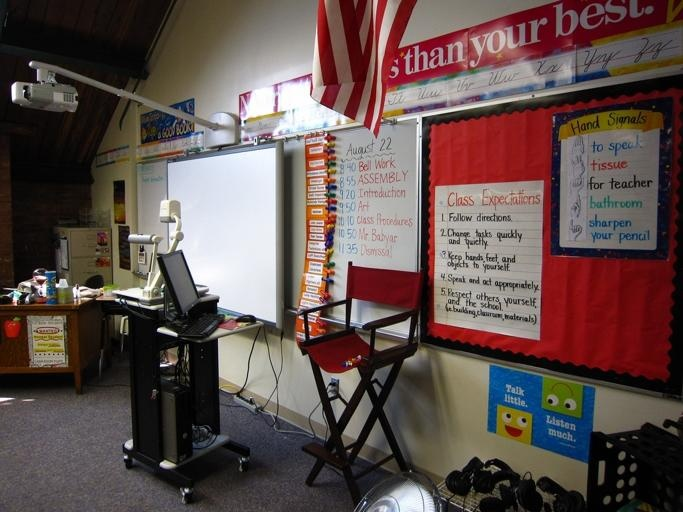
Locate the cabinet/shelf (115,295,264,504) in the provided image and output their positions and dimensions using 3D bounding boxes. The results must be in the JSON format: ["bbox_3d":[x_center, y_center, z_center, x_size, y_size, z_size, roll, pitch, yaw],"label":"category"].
[{"bbox_3d":[-1.085,0.910,3.579,0.870,1.199,1.066,0,-1,-33],"label":"cabinet/shelf"}]

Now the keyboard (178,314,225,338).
[{"bbox_3d":[-0.928,0.468,3.360,0.199,0.051,0.456,1,12,6],"label":"keyboard"}]

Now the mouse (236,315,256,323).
[{"bbox_3d":[-0.668,0.449,3.532,0.110,0.041,0.061,0,5,-12],"label":"mouse"}]

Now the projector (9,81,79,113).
[{"bbox_3d":[-2.418,-1.266,4.076,0.481,0.293,0.209,-3,8,-36],"label":"projector"}]

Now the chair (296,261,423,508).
[{"bbox_3d":[0.055,0.816,3.448,0.870,1.464,0.670,8,13,35],"label":"chair"}]

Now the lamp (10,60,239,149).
[{"bbox_3d":[-1.835,-1.283,4.505,1.815,0.738,0.545,-3,0,-31],"label":"lamp"}]

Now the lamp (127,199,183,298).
[{"bbox_3d":[-1.221,-0.042,3.521,0.448,0.727,0.190,-7,-15,30],"label":"lamp"}]

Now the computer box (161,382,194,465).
[{"bbox_3d":[-1.115,1.138,3.340,0.186,0.486,0.125,2,11,9],"label":"computer box"}]
